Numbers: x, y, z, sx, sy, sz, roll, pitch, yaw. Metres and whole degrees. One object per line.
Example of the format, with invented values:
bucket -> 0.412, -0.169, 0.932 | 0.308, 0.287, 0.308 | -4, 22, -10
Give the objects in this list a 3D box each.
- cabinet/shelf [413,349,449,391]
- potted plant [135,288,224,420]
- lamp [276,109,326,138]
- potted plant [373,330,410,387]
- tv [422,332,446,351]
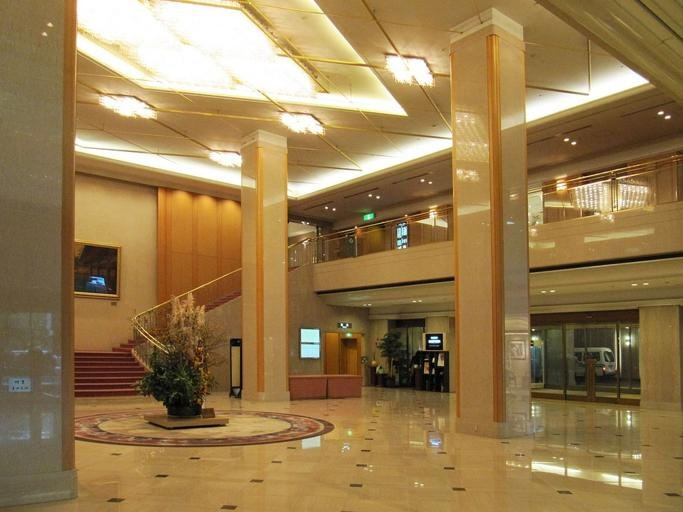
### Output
cabinet/shelf -> 3.104, 3.903, 18.119 | 0.525, 1.274, 1.511 | 7, -13, -27
potted plant -> -2.933, 1.833, 9.692 | 1.195, 2.180, 0.772 | 2, -13, -13
lamp -> -1.027, -3.414, 13.597 | 1.159, 0.341, 0.655 | 2, -12, -13
potted plant -> 1.911, 3.804, 19.785 | 0.868, 1.999, 1.042 | -11, -16, 38
tv -> 3.148, 2.894, 18.017 | 0.144, 0.602, 0.858 | 9, -15, -37
